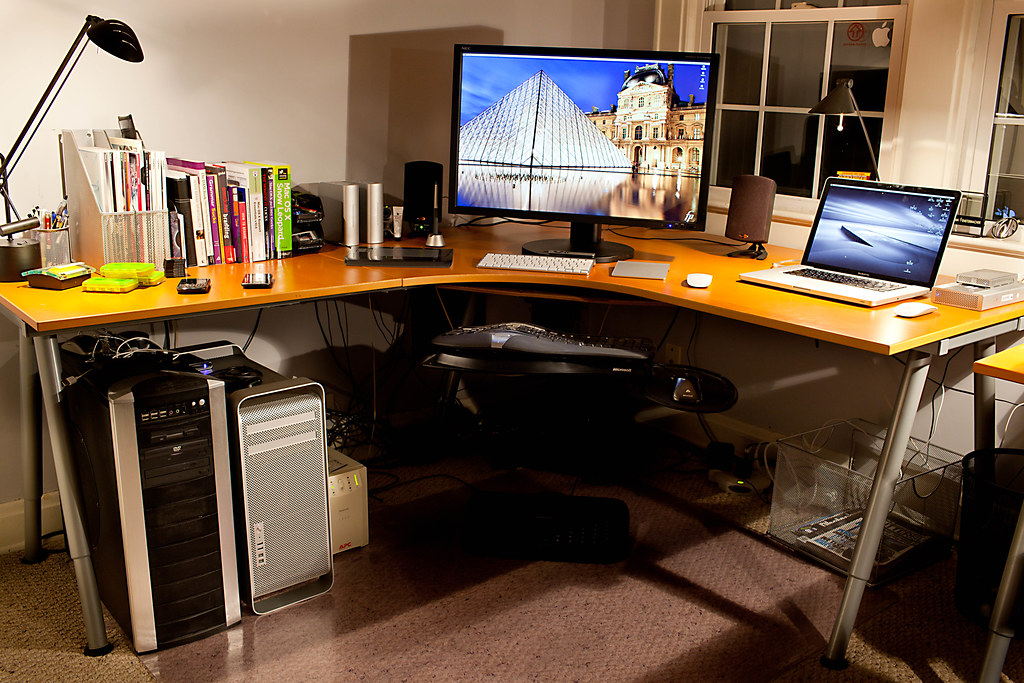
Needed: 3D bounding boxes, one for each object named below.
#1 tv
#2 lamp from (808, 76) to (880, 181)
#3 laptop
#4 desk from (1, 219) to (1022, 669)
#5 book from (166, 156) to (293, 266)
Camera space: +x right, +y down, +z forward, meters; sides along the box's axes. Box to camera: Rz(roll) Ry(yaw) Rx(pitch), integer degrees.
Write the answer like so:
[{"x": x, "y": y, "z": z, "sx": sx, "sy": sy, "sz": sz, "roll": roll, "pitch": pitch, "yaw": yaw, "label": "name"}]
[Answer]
[{"x": 0.272, "y": -0.747, "z": 3.014, "sx": 0.941, "sy": 0.649, "sz": 0.280, "roll": 4, "pitch": 13, "yaw": 7, "label": "tv"}, {"x": 1.323, "y": -0.830, "z": 3.047, "sx": 0.252, "sy": 0.378, "sz": 0.473, "roll": 6, "pitch": 19, "yaw": 26, "label": "lamp"}, {"x": 1.211, "y": -0.346, "z": 2.681, "sx": 0.562, "sy": 0.347, "sz": 0.564, "roll": -12, "pitch": 19, "yaw": -39, "label": "laptop"}, {"x": 0.088, "y": -0.068, "z": 2.561, "sx": 2.076, "sy": 0.770, "sz": 2.037, "roll": 15, "pitch": 21, "yaw": 41, "label": "desk"}, {"x": -1.136, "y": -0.492, "z": 3.026, "sx": 0.398, "sy": 0.498, "sz": 0.542, "roll": -9, "pitch": 19, "yaw": -34, "label": "book"}]
